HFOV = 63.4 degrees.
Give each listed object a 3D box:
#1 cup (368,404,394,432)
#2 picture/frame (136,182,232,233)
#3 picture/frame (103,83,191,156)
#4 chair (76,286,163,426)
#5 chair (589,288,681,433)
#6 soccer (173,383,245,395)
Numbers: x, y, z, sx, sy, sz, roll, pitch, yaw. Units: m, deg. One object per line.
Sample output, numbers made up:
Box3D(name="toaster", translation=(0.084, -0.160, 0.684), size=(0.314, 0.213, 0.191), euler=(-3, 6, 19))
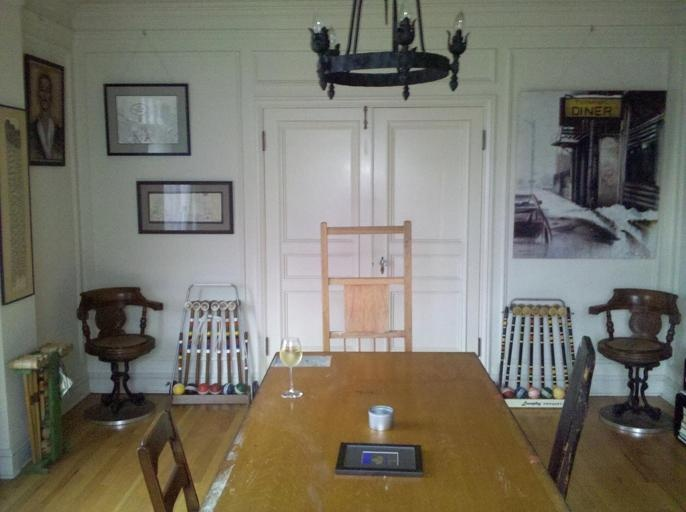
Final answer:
Box3D(name="cup", translation=(0.174, 0.755, 2.596), size=(0.098, 0.066, 0.100), euler=(0, -1, 0))
Box3D(name="picture/frame", translation=(-1.393, -0.426, 4.949), size=(0.787, 0.480, 0.031), euler=(-1, 0, -11))
Box3D(name="picture/frame", translation=(-1.730, -1.223, 4.866), size=(0.581, 0.508, 0.024), euler=(0, 5, -2))
Box3D(name="chair", translation=(-1.891, 0.825, 4.748), size=(0.601, 1.005, 0.546), euler=(-4, 7, -32))
Box3D(name="chair", translation=(2.446, 0.827, 4.680), size=(0.635, 1.068, 0.857), euler=(3, 6, 33))
Box3D(name="soccer", translation=(-1.184, 1.165, 4.871), size=(0.393, 0.096, 0.096), euler=(1, -2, 1))
